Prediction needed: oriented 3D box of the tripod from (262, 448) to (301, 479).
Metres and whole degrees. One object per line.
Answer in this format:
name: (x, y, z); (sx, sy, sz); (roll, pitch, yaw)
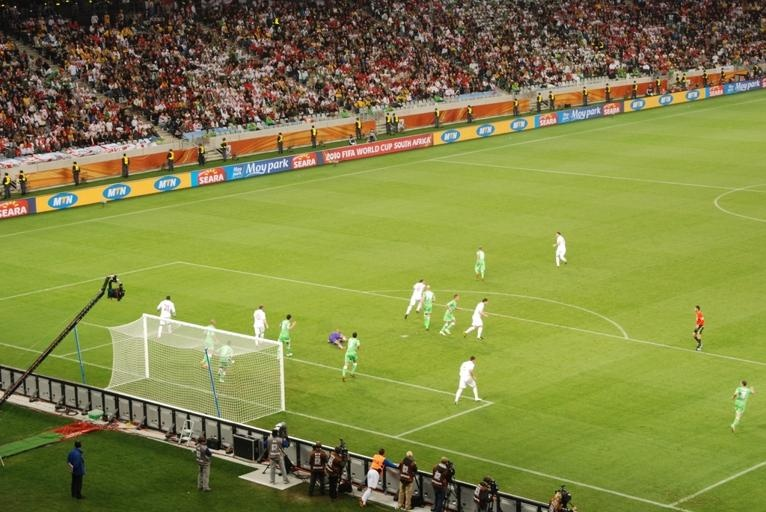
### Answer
tripod: (-5.013, 9.412, 53.365); (1.399, 1.076, 2.036); (-5, -22, 23)
